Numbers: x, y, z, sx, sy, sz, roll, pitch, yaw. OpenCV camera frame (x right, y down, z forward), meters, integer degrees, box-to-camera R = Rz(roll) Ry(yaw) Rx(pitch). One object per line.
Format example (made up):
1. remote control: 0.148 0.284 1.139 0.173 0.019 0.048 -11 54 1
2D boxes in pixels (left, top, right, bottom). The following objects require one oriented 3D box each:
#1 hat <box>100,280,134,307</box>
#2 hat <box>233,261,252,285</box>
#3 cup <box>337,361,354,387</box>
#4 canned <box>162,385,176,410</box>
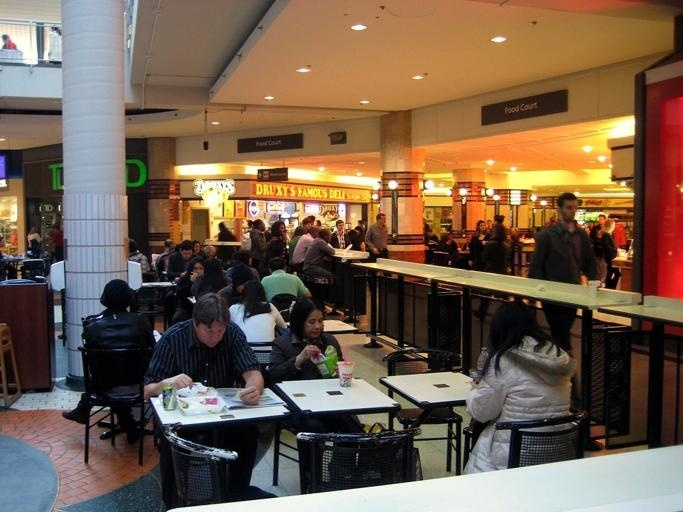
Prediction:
1. hat: -2.116 0.383 5.192 0.234 0.168 0.309 -9 31 -19
2. hat: -1.121 0.198 6.206 0.220 0.233 0.258 1 -7 -9
3. cup: 0.037 0.838 3.928 0.105 0.173 0.167 -4 8 -2
4. canned: -1.044 0.866 3.338 0.075 0.134 0.069 -6 9 -18
